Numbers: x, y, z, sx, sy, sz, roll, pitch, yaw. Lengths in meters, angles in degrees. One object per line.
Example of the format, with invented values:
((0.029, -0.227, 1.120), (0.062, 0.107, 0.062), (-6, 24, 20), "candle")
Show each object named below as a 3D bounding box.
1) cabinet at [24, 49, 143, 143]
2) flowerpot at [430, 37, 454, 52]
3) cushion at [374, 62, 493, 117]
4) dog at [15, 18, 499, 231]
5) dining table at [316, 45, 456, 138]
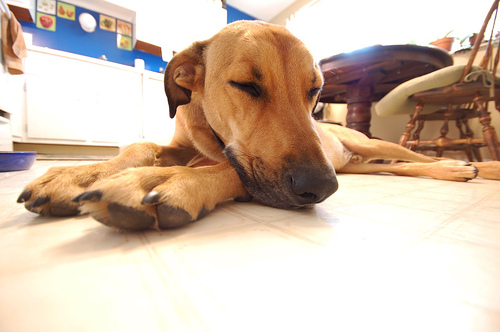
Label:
((-2.501, -1.076, 5.323), (2.295, 1.391, 1.150), (7, 10, 4), "cabinet")
((2.463, -1.553, 3.878), (0.124, 0.192, 0.266), (-6, 12, -30), "flowerpot")
((1.621, -0.675, 2.757), (0.600, 0.403, 0.824), (-1, 10, -6), "cushion")
((-0.224, -0.274, 1.424), (1.261, 0.895, 0.821), (-2, 11, -12), "dog")
((1.180, -0.770, 3.557), (1.343, 0.738, 1.249), (-1, 11, -10), "dining table")
